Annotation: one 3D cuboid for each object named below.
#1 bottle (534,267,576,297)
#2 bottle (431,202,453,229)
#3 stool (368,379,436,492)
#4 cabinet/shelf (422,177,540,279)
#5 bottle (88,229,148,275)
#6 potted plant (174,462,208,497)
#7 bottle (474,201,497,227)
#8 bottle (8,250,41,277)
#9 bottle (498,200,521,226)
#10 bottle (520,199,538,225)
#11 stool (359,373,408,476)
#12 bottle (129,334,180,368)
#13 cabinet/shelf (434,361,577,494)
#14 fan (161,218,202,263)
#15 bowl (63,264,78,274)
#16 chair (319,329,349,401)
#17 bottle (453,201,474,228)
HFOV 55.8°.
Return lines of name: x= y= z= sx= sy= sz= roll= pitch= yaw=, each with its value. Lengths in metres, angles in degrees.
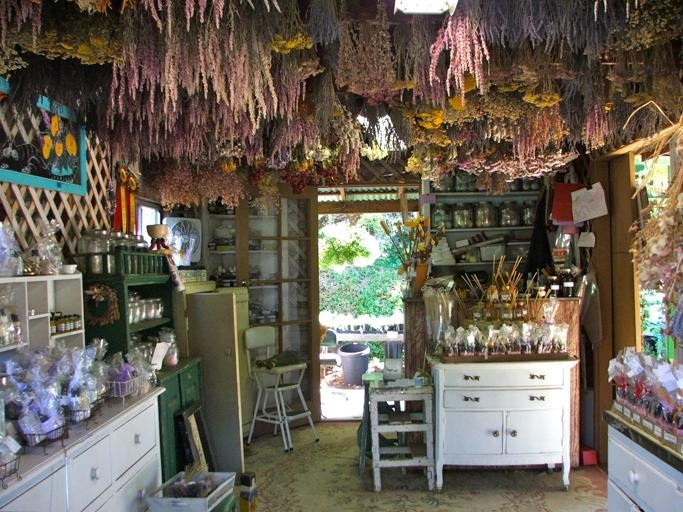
bottle: x=1.901 y=0.218 z=5.777 sx=0.365 sy=0.434 sz=0.232 roll=-1 pitch=3 yaw=18
bottle: x=0.971 y=-0.393 z=6.329 sx=0.200 sy=0.257 sz=0.219 roll=0 pitch=3 yaw=0
stool: x=0.487 y=1.428 z=5.407 sx=0.535 sy=0.803 sz=0.724 roll=-1 pitch=5 yaw=2
cabinet/shelf: x=1.359 y=-0.273 z=6.212 sx=0.825 sy=0.903 sz=0.295 roll=0 pitch=-2 yaw=2
bottle: x=-1.598 y=-0.037 z=4.497 sx=0.325 sy=0.296 sz=0.510 roll=-1 pitch=5 yaw=-3
potted plant: x=-0.940 y=1.400 z=4.017 sx=0.142 sy=0.080 sz=0.194 roll=3 pitch=12 yaw=-2
bottle: x=1.398 y=-0.407 z=6.267 sx=0.195 sy=0.251 sz=0.213 roll=1 pitch=1 yaw=0
bottle: x=-1.846 y=0.033 z=3.739 sx=0.102 sy=0.174 sz=0.156 roll=2 pitch=-3 yaw=-41
bottle: x=1.640 y=-0.427 z=6.284 sx=0.195 sy=0.254 sz=0.206 roll=1 pitch=1 yaw=0
bottle: x=1.820 y=-0.414 z=6.265 sx=0.138 sy=0.213 sz=0.204 roll=1 pitch=3 yaw=11
stool: x=0.249 y=1.385 z=5.638 sx=0.450 sy=0.941 sz=0.671 roll=-1 pitch=-4 yaw=-1
bottle: x=-1.375 y=0.705 z=4.762 sx=0.231 sy=0.170 sz=0.247 roll=0 pitch=-5 yaw=0
cabinet/shelf: x=1.296 y=1.358 z=5.183 sx=0.831 sy=0.918 sz=0.384 roll=0 pitch=-4 yaw=0
fan: x=-1.570 y=-0.164 z=6.246 sx=0.157 sy=0.515 sz=0.412 roll=-1 pitch=-1 yaw=38
bowl: x=-1.710 y=0.082 z=4.044 sx=0.052 sy=0.043 sz=0.055 roll=-2 pitch=-2 yaw=0
chair: x=-0.162 y=1.512 z=9.633 sx=0.506 sy=1.047 sz=0.588 roll=0 pitch=-4 yaw=-1
bottle: x=1.164 y=-0.413 z=6.329 sx=0.196 sy=0.249 sz=0.211 roll=1 pitch=3 yaw=0
